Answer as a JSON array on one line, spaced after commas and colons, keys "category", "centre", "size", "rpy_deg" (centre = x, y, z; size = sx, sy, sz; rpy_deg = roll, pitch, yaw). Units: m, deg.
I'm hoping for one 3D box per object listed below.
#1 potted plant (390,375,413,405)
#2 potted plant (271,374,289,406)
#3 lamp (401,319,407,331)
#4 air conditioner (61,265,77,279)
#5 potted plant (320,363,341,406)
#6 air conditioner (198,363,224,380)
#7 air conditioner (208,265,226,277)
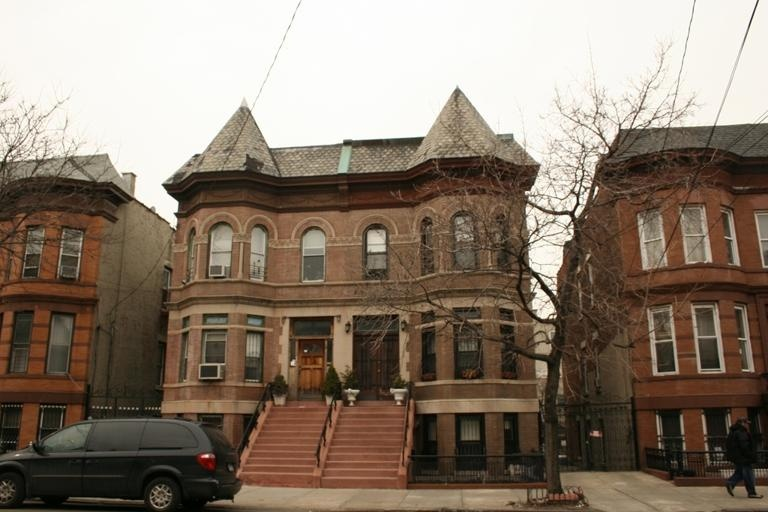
[{"category": "potted plant", "centre": [0.698, 5.630, 28.169], "size": [1.091, 1.388, 1.038], "rpy_deg": [0, -34, 2]}, {"category": "potted plant", "centre": [-4.435, 5.648, 28.612], "size": [0.745, 1.286, 0.520], "rpy_deg": [8, -21, -27]}, {"category": "lamp", "centre": [0.877, 2.974, 29.029], "size": [0.269, 0.397, 0.219], "rpy_deg": [-2, -18, 1]}, {"category": "air conditioner", "centre": [-14.639, 0.743, 31.060], "size": [0.614, 0.522, 0.297], "rpy_deg": [5, -19, -26]}, {"category": "potted plant", "centre": [-2.200, 5.328, 28.331], "size": [0.795, 1.722, 1.349], "rpy_deg": [0, -18, -5]}, {"category": "air conditioner", "centre": [-7.315, 4.851, 28.214], "size": [1.186, 0.622, 0.802], "rpy_deg": [-1, 5, 12]}, {"category": "air conditioner", "centre": [-7.351, 0.684, 29.426], "size": [0.928, 0.615, 0.480], "rpy_deg": [-1, -18, 3]}]
